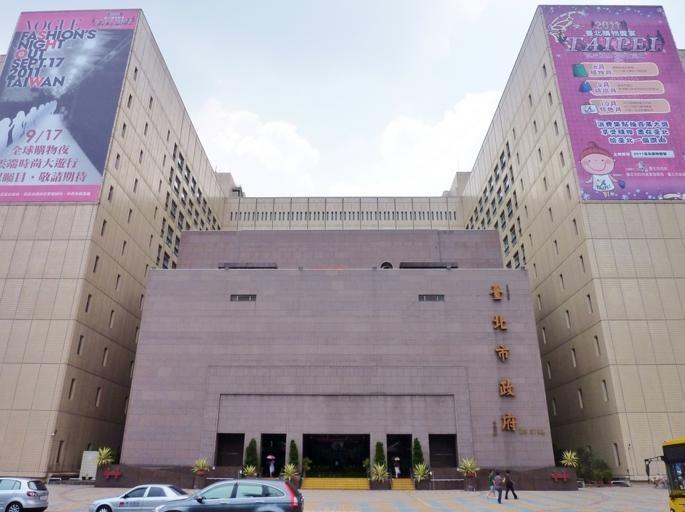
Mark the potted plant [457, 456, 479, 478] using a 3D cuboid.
[{"bbox_3d":[11.730,19.439,42.973,1.474,1.172,1.552,-1,-12,15],"label":"potted plant"}]

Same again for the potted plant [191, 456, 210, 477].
[{"bbox_3d":[-12.880,19.279,42.317,1.544,1.621,1.704,-1,-19,-5],"label":"potted plant"}]

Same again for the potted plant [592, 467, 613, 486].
[{"bbox_3d":[24.347,20.512,43.449,1.196,0.935,1.302,4,-15,-10],"label":"potted plant"}]
